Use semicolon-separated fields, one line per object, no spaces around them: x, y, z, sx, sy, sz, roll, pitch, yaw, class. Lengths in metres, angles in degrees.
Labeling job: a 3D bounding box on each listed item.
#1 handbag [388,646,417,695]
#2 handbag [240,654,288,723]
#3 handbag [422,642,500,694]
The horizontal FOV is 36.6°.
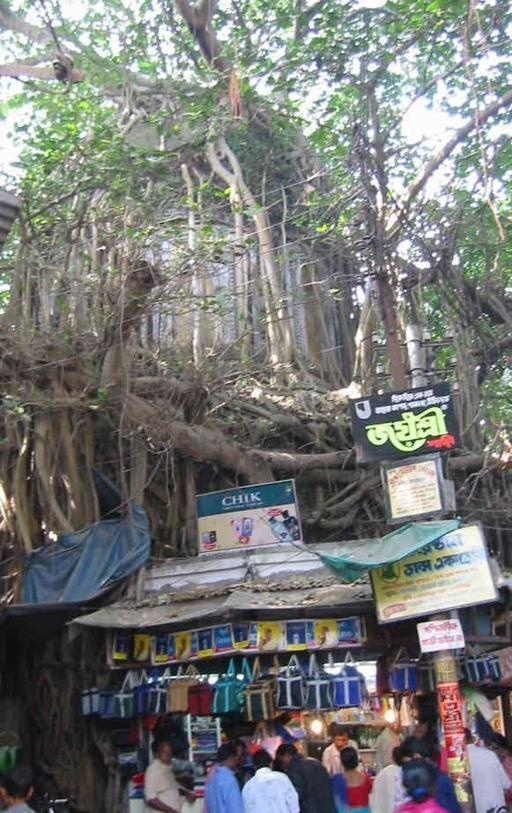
1.201;2.176;6.420;0.245;0.328;0.371;-7;-18;7;handbag
0.160;2.218;6.128;0.506;0.457;0.320;10;-20;-43;handbag
1.732;2.201;6.628;0.609;0.231;0.444;-18;-42;17;handbag
